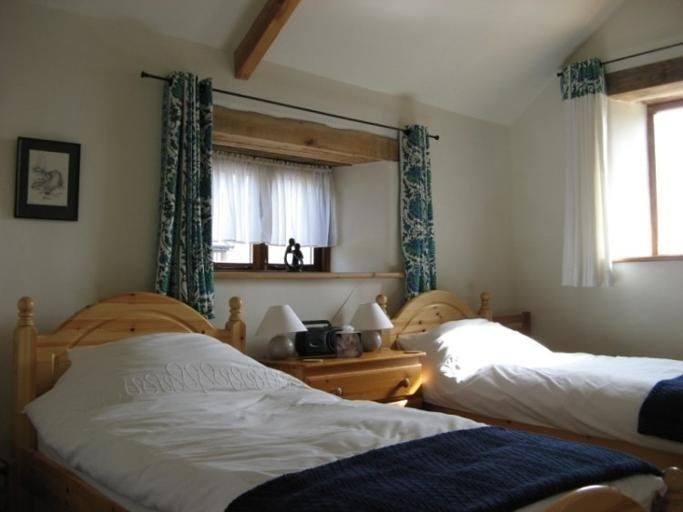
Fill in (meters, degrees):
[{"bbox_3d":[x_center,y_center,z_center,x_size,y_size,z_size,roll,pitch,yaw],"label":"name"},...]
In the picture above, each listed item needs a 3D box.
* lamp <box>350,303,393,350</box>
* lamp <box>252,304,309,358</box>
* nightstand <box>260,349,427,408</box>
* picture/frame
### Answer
[{"bbox_3d":[0.207,0.506,3.931,0.324,0.361,0.340,1,0,-1],"label":"lamp"},{"bbox_3d":[-0.386,0.473,3.522,0.339,0.343,0.341,-3,-8,-3],"label":"lamp"},{"bbox_3d":[-0.026,0.724,3.795,0.866,0.338,0.633,3,1,-37],"label":"nightstand"},{"bbox_3d":[-1.648,-0.424,3.067,0.327,0.457,0.063,-1,3,-28],"label":"picture/frame"}]
